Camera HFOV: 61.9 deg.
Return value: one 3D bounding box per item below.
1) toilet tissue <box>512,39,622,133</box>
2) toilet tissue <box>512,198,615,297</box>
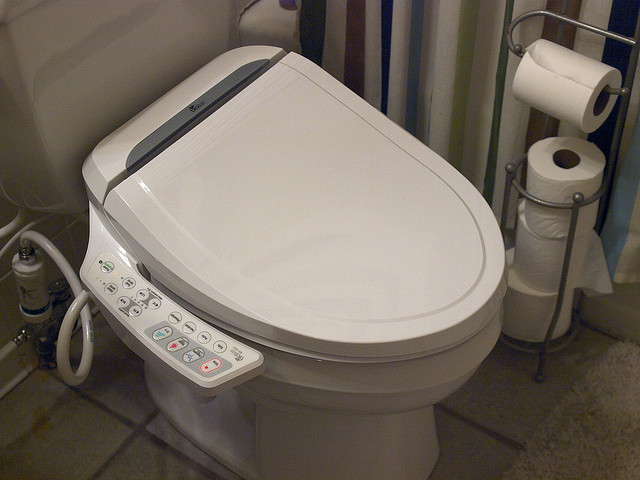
[{"bbox_3d":[0.422,-0.275,0.916,0.106,0.128,0.149,8,25,-47],"label":"toilet tissue"},{"bbox_3d":[0.475,0.005,1.104,0.160,0.165,0.168,-6,17,7],"label":"toilet tissue"}]
